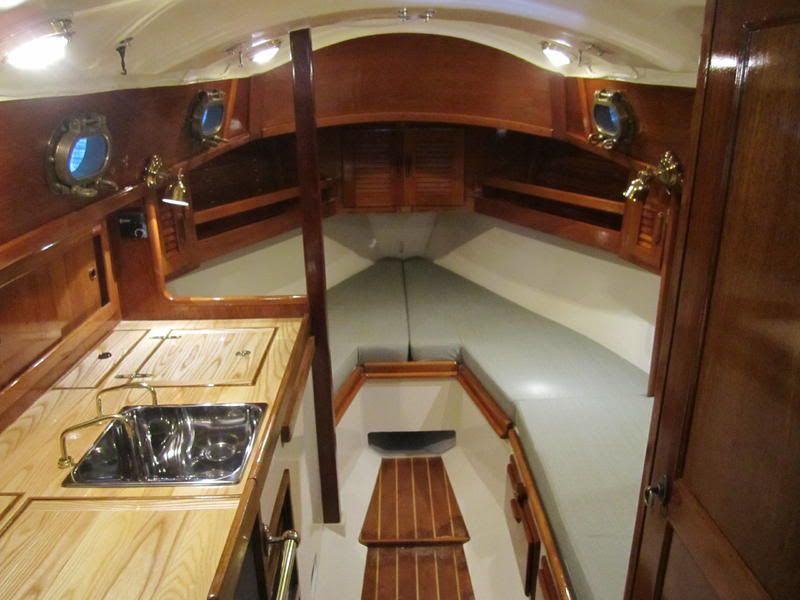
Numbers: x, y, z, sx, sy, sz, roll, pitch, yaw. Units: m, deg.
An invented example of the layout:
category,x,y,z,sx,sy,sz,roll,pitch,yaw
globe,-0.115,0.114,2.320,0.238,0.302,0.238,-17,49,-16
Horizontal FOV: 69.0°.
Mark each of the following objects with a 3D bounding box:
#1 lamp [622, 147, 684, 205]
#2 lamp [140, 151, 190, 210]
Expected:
category,x,y,z,sx,sy,sz,roll,pitch,yaw
lamp,0.912,-0.429,2.096,0.067,0.187,0.119,-2,-91,-24
lamp,-0.896,-0.480,2.303,0.109,0.091,0.189,-2,-76,-13
